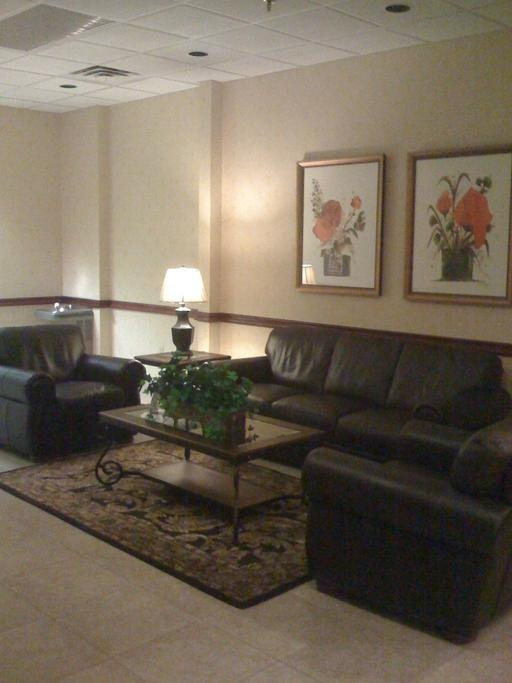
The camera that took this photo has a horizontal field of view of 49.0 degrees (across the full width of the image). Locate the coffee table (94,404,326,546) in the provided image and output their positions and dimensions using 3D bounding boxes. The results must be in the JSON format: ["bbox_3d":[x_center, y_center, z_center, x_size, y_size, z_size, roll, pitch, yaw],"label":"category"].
[{"bbox_3d":[-0.238,0.718,3.506,1.248,0.493,0.652,11,16,39],"label":"coffee table"}]

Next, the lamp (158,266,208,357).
[{"bbox_3d":[-0.713,-0.295,5.399,0.468,0.850,0.452,-2,5,-25],"label":"lamp"}]

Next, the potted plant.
[{"bbox_3d":[-0.336,0.330,3.368,0.353,0.427,0.808,-2,4,-39],"label":"potted plant"}]
